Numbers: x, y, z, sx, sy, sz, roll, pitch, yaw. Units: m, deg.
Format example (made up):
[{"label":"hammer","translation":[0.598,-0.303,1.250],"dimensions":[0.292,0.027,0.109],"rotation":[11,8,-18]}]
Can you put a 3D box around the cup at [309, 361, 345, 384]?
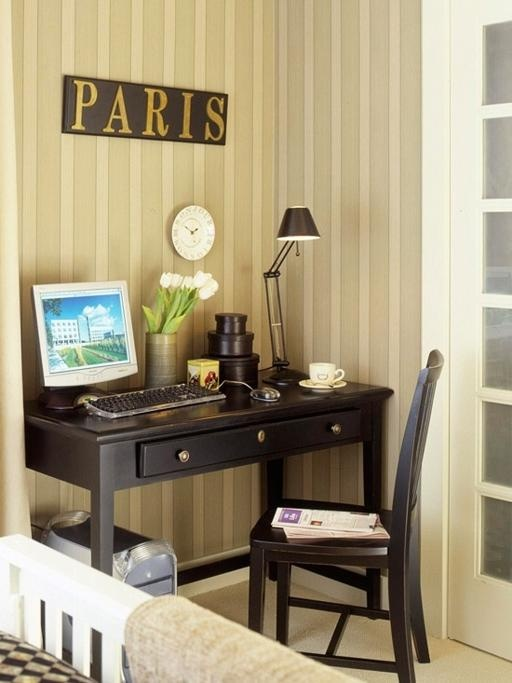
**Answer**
[{"label":"cup","translation":[0.253,0.114,2.100],"dimensions":[0.106,0.076,0.082],"rotation":[4,1,18]}]

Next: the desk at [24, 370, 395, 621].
[{"label":"desk","translation":[0.004,0.481,1.895],"dimensions":[0.885,0.496,0.463],"rotation":[-8,-7,-8]}]

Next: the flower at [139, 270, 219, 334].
[{"label":"flower","translation":[-0.282,-0.142,2.094],"dimensions":[0.273,0.210,0.130],"rotation":[-7,10,-28]}]

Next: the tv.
[{"label":"tv","translation":[-0.547,0.009,1.814],"dimensions":[0.210,0.454,0.355],"rotation":[2,4,42]}]

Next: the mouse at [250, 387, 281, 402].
[{"label":"mouse","translation":[0.032,0.171,1.888],"dimensions":[0.073,0.026,0.044],"rotation":[3,8,43]}]

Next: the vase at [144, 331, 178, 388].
[{"label":"vase","translation":[-0.342,0.063,2.075],"dimensions":[0.113,0.204,0.121],"rotation":[3,13,1]}]

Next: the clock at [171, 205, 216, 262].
[{"label":"clock","translation":[-0.256,-0.436,2.304],"dimensions":[0.192,0.216,0.012],"rotation":[8,5,21]}]

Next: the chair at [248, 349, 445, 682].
[{"label":"chair","translation":[0.283,0.479,2.334],"dimensions":[0.837,1.622,0.763],"rotation":[3,3,18]}]
